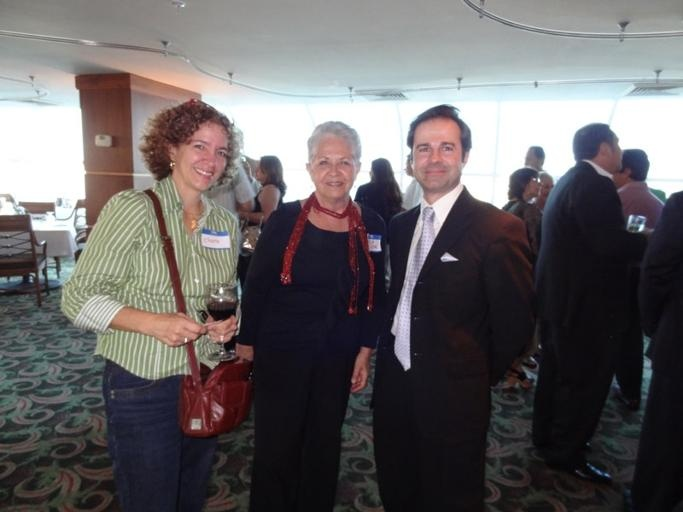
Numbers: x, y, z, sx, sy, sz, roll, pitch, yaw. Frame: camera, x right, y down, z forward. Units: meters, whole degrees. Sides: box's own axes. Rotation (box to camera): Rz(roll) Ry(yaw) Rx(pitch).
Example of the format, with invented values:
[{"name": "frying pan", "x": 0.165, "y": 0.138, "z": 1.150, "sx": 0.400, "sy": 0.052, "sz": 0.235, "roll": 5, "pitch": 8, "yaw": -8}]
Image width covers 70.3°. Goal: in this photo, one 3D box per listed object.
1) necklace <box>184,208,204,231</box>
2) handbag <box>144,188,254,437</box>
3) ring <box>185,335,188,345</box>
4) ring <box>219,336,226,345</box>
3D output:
[{"name": "necklace", "x": -0.786, "y": -0.195, "z": 2.653, "sx": 0.092, "sy": 0.115, "sz": 0.093, "roll": 1, "pitch": 25, "yaw": 0}, {"name": "handbag", "x": -0.701, "y": 0.348, "z": 2.531, "sx": 0.408, "sy": 1.214, "sz": 0.475, "roll": -5, "pitch": 16, "yaw": -21}, {"name": "ring", "x": -0.768, "y": 0.419, "z": 2.419, "sx": 0.026, "sy": 0.037, "sz": 0.009, "roll": -4, "pitch": -1, "yaw": 11}, {"name": "ring", "x": -0.627, "y": 0.445, "z": 2.565, "sx": 0.028, "sy": 0.039, "sz": 0.013, "roll": -1, "pitch": 6, "yaw": -4}]
